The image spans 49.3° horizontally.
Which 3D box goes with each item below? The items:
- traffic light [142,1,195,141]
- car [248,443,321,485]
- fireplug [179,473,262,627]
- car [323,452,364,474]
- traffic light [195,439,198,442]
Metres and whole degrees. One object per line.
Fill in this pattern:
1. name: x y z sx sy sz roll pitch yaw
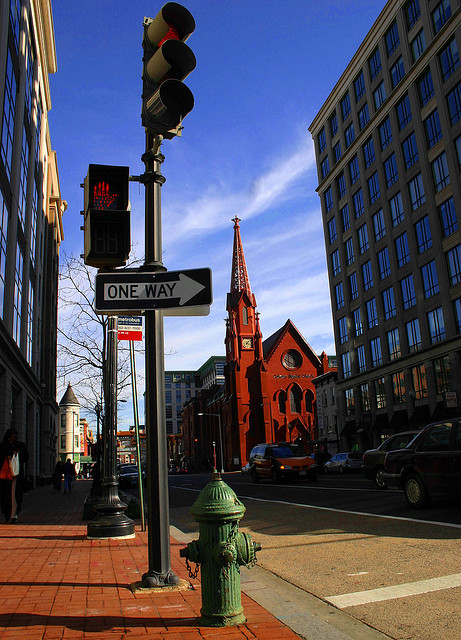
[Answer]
1. traffic light: -0.487 -2.025 3.865 0.356 0.978 0.771 0 -14 -12
2. car: 2.360 7.011 24.617 2.766 1.866 5.913 2 -15 -20
3. fireplug: -0.084 1.596 3.556 0.547 0.977 0.385 -3 -13 0
4. car: 7.610 9.624 33.734 1.544 1.332 3.738 0 -14 -14
5. traffic light: -6.637 23.221 96.545 0.512 0.483 0.421 -6 -14 10
